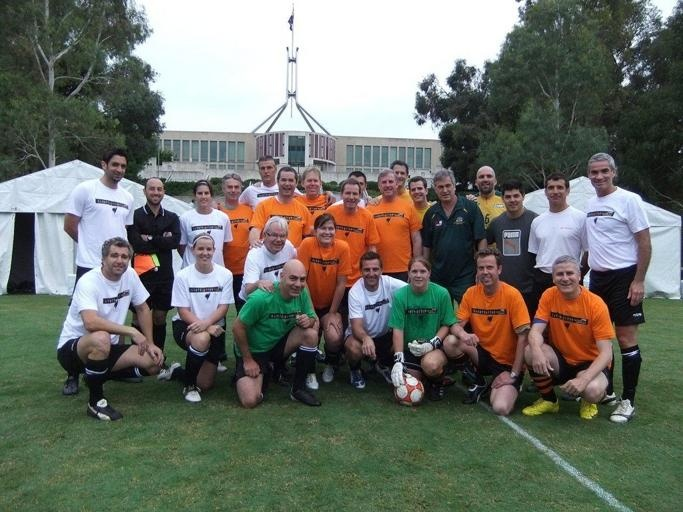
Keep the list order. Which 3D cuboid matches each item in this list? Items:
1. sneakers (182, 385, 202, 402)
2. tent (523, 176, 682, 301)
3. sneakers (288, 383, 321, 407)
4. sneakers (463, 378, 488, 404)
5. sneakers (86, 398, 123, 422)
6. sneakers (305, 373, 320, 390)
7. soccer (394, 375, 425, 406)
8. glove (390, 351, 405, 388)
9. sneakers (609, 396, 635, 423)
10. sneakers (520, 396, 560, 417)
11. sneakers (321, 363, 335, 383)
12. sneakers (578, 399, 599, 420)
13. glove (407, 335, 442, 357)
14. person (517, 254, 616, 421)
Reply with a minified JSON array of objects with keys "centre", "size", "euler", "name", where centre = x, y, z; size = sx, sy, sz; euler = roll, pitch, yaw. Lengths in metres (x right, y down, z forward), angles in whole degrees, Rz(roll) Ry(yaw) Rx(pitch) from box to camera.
[{"centre":[-1.649,1.521,6.001],"size":[0.196,0.150,0.296],"euler":[-1,6,-17],"name":"sneakers"},{"centre":[7.465,-0.335,16.315],"size":[4.384,3.707,4.515],"euler":[0,0,-9],"name":"tent"},{"centre":[-0.400,1.536,6.013],"size":[0.415,0.163,0.169],"euler":[8,11,38],"name":"sneakers"},{"centre":[1.541,1.565,6.189],"size":[0.432,0.197,0.143],"euler":[-31,-1,-43],"name":"sneakers"},{"centre":[-2.398,1.570,5.475],"size":[0.349,0.168,0.179],"euler":[9,9,26],"name":"sneakers"},{"centre":[-0.343,1.492,6.368],"size":[0.178,0.216,0.528],"euler":[-2,-9,-9],"name":"sneakers"},{"centre":[0.750,1.462,5.904],"size":[0.287,0.340,0.279],"euler":[10,-8,-43],"name":"soccer"},{"centre":[0.633,1.250,5.934],"size":[0.196,0.318,0.112],"euler":[-11,-21,-6],"name":"glove"},{"centre":[2.905,1.598,5.572],"size":[0.177,0.197,0.315],"euler":[5,8,38],"name":"sneakers"},{"centre":[2.103,1.614,5.798],"size":[0.432,0.198,0.154],"euler":[-2,0,-7],"name":"sneakers"},{"centre":[-0.158,1.492,6.807],"size":[0.170,0.196,0.473],"euler":[0,-6,2],"name":"sneakers"},{"centre":[2.583,1.607,5.649],"size":[0.132,0.111,0.254],"euler":[-3,-6,14],"name":"sneakers"},{"centre":[0.961,1.027,6.112],"size":[0.318,0.131,0.207],"euler":[-24,43,-21],"name":"glove"},{"centre":[2.382,0.854,5.637],"size":[0.829,1.699,0.756],"euler":[4,7,28],"name":"person"}]
